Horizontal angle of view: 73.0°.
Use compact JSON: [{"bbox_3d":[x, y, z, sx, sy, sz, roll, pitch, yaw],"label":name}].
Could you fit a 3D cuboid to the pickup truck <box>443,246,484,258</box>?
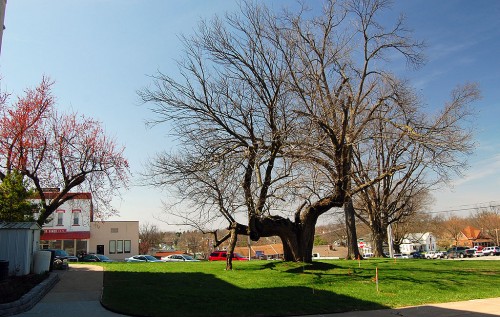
[{"bbox_3d":[35.979,16.144,58.131,4.936,1.592,1.621,1,-6,3],"label":"pickup truck"}]
